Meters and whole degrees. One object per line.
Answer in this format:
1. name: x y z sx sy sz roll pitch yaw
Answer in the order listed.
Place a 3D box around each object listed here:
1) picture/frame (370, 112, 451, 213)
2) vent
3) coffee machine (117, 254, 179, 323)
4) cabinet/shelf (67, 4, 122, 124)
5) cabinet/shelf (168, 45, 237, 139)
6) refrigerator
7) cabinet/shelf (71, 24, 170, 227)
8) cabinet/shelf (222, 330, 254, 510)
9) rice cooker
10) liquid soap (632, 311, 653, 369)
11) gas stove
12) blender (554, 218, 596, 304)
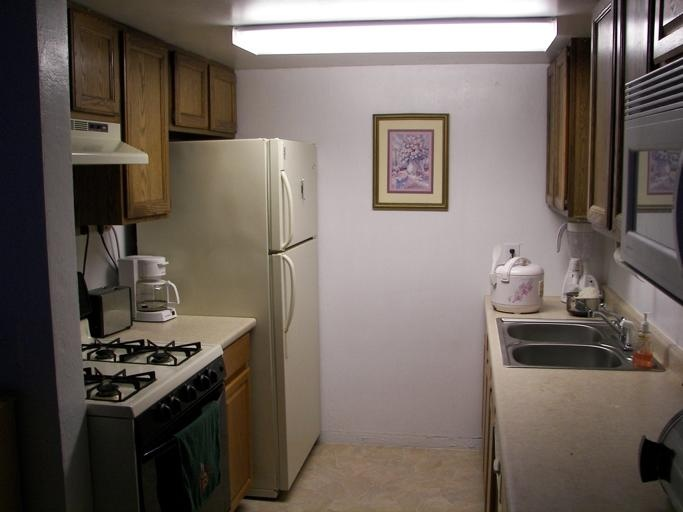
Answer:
1. picture/frame: 0.486 -0.652 3.719 0.517 0.650 0.140 2 13 15
2. vent: -1.083 -0.513 2.392 0.263 0.208 0.399 8 17 34
3. coffee machine: -1.115 0.175 3.172 0.291 0.444 0.261 8 13 16
4. cabinet/shelf: -1.122 -0.886 2.452 0.098 0.433 0.204 6 10 17
5. cabinet/shelf: -0.854 -1.013 3.369 0.403 0.467 0.747 1 4 15
6. refrigerator: -0.546 0.325 3.575 0.859 2.131 1.264 2 9 3
7. cabinet/shelf: -1.109 -0.607 2.767 0.287 1.081 0.440 5 8 21
8. cabinet/shelf: -0.572 0.925 3.004 0.203 0.775 0.272 3 10 -1
9. rice cooker: 1.069 0.125 3.400 0.403 0.424 0.354 0 3 -5
10. liquid soap: 1.339 0.395 2.353 0.080 0.186 0.103 7 15 31
11. gas stove: -0.854 0.497 2.366 0.520 0.240 0.671 6 12 10
12. blender: 1.458 0.018 3.442 0.240 0.632 0.244 2 9 8
